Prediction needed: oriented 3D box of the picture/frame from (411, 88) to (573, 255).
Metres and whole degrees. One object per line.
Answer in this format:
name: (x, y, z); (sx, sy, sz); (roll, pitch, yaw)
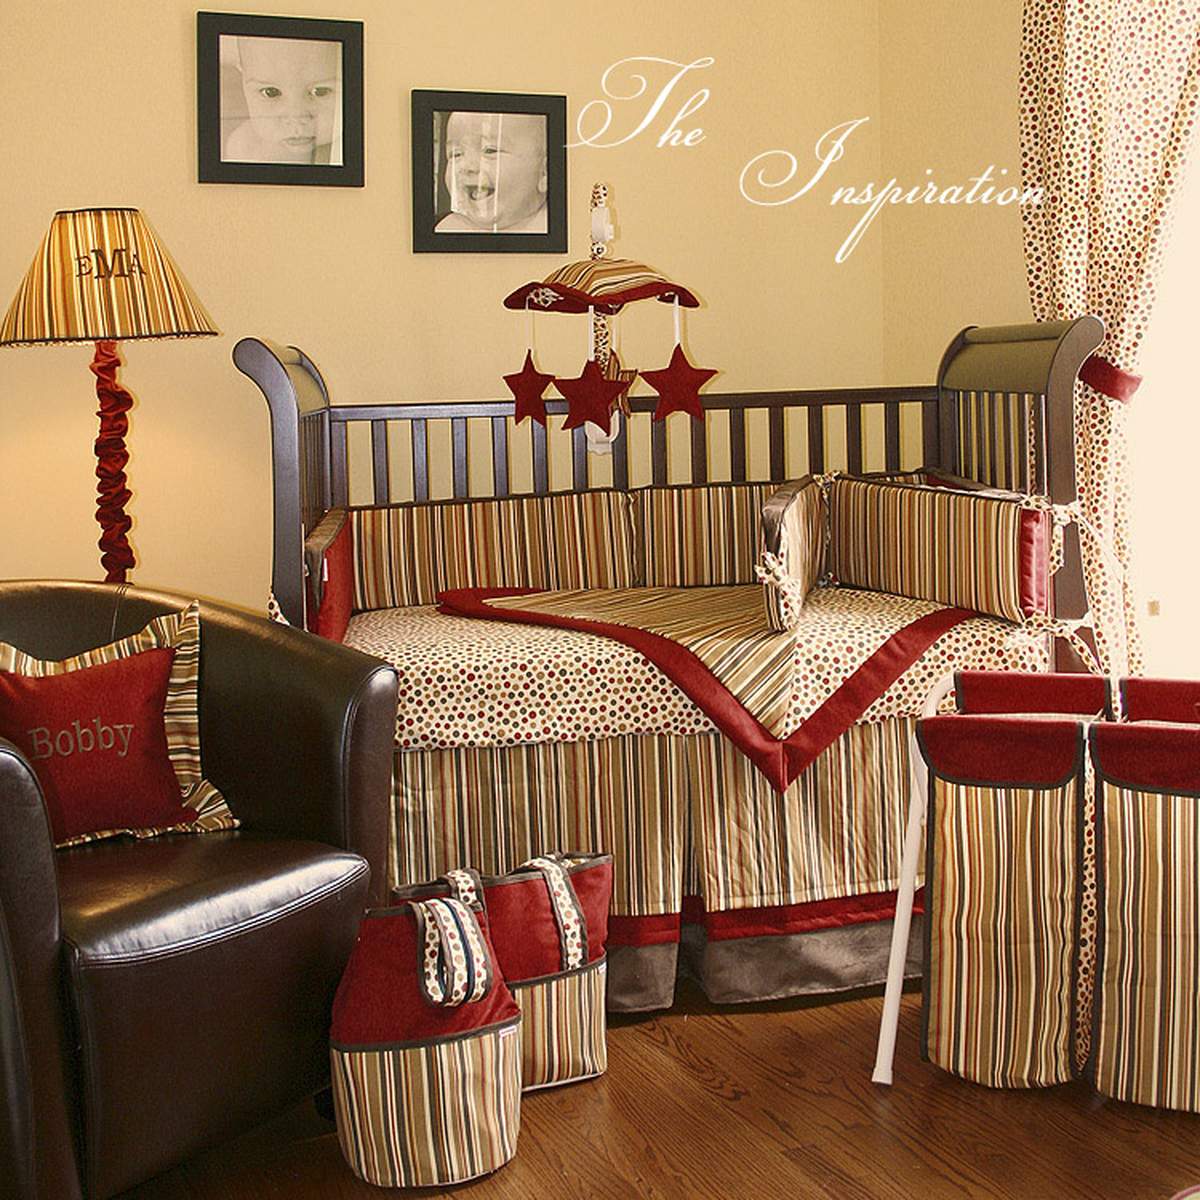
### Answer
picture/frame: (-0.320, -1.192, 3.313); (0.462, 0.472, 0.016); (-1, 5, -18)

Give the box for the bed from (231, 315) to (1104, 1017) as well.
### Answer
bed: (0.124, 0.118, 2.200); (1.348, 1.080, 0.613); (-2, 10, -8)

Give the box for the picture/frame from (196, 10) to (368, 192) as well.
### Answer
picture/frame: (-0.851, -1.319, 3.147); (0.478, 0.490, 0.016); (-2, 8, -14)

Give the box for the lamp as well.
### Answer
lamp: (-1.095, -0.475, 2.645); (0.423, 0.868, 0.372); (1, 6, 34)
